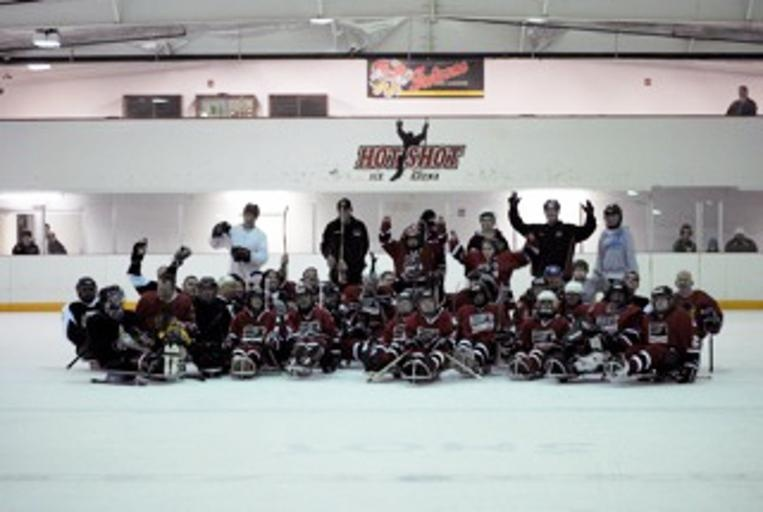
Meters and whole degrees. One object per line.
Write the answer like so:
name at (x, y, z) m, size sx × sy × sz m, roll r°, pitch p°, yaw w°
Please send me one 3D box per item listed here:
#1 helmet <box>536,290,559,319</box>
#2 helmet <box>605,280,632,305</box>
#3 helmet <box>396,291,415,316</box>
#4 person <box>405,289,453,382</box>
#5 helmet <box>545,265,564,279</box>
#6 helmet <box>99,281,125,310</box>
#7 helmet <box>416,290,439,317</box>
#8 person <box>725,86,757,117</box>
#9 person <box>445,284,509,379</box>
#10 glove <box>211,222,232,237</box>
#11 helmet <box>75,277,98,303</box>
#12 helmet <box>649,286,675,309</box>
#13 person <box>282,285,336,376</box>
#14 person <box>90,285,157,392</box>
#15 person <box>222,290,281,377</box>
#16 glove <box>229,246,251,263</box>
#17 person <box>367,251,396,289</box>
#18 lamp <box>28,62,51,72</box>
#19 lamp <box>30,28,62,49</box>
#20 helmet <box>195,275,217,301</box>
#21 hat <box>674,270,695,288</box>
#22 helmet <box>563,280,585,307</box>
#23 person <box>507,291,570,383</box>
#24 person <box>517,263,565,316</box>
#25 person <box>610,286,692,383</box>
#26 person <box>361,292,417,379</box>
helmet at (2.561, 0.734, 18.291) m, size 0.302 × 0.414 × 0.401 m, roll 1°, pitch 2°, yaw 15°
helmet at (3.665, 0.570, 18.366) m, size 0.285 × 0.287 × 0.374 m, roll 1°, pitch -31°, yaw 19°
helmet at (0.369, 0.721, 18.401) m, size 0.255 × 0.348 × 0.338 m, roll 0°, pitch 1°, yaw 7°
person at (0.717, 1.177, 18.062) m, size 0.796 × 1.298 × 0.474 m, roll 0°, pitch -1°, yaw -1°
helmet at (2.750, 0.241, 18.964) m, size 0.211 × 0.135 × 0.217 m, roll 1°, pitch 6°, yaw 9°
helmet at (-4.144, 0.602, 18.095) m, size 0.404 × 0.307 × 0.288 m, roll 0°, pitch -1°, yaw 2°
helmet at (0.724, 0.724, 18.315) m, size 0.283 × 0.373 × 0.380 m, roll -2°, pitch -4°, yaw -2°
person at (8.079, -3.482, 26.441) m, size 0.662 × 0.735 × 0.657 m, roll -1°, pitch -2°, yaw 35°
person at (1.540, 1.114, 18.507) m, size 1.048 × 1.447 × 0.453 m, roll 1°, pitch -1°, yaw -41°
glove at (-2.834, -0.521, 21.107) m, size 0.322 × 0.265 × 0.125 m, roll -13°, pitch 33°, yaw -37°
helmet at (-4.653, 0.523, 18.824) m, size 0.322 × 0.420 × 0.409 m, roll -2°, pitch 4°, yaw -17°
helmet at (4.289, 0.627, 18.168) m, size 0.353 × 0.364 × 0.290 m, roll 10°, pitch -10°, yaw -44°
person at (-1.071, 1.303, 18.616) m, size 0.934 × 0.696 × 1.870 m, roll 3°, pitch 32°, yaw 7°
person at (-4.013, 1.185, 18.028) m, size 0.950 × 1.475 × 0.432 m, roll 0°, pitch -1°, yaw -6°
person at (-2.002, 1.208, 18.312) m, size 0.813 × 1.354 × 1.217 m, roll 1°, pitch 1°, yaw 0°
glove at (-2.474, -0.034, 20.680) m, size 0.290 × 0.289 × 0.222 m, roll -11°, pitch 14°, yaw -39°
person at (0.003, 0.233, 19.726) m, size 0.473 × 0.589 × 0.890 m, roll 0°, pitch -2°, yaw 0°
lamp at (-7.847, -4.311, 27.098) m, size 0.561 × 0.135 × 0.471 m, roll 1°, pitch -2°, yaw -16°
lamp at (-6.549, -4.248, 23.200) m, size 0.410 × 0.241 × 0.586 m, roll -1°, pitch 12°, yaw -8°
helmet at (-2.771, 0.523, 18.546) m, size 0.288 × 0.374 × 0.381 m, roll 1°, pitch -9°, yaw -13°
hat at (5.231, 0.382, 20.482) m, size 0.230 × 0.301 × 0.293 m, roll -1°, pitch 25°, yaw 21°
helmet at (3.053, 0.603, 18.810) m, size 0.280 × 0.357 × 0.374 m, roll -1°, pitch -6°, yaw 9°
person at (2.449, 1.226, 18.289) m, size 0.899 × 1.198 × 1.319 m, roll 2°, pitch 0°, yaw 24°
person at (2.578, 0.562, 19.165) m, size 0.631 × 0.887 × 0.339 m, roll 14°, pitch 10°, yaw -2°
person at (4.111, 1.260, 18.566) m, size 1.490 × 1.647 × 0.985 m, roll 4°, pitch -3°, yaw -36°
person at (0.118, 1.232, 18.280) m, size 0.621 × 1.506 × 0.610 m, roll 35°, pitch -25°, yaw -29°
